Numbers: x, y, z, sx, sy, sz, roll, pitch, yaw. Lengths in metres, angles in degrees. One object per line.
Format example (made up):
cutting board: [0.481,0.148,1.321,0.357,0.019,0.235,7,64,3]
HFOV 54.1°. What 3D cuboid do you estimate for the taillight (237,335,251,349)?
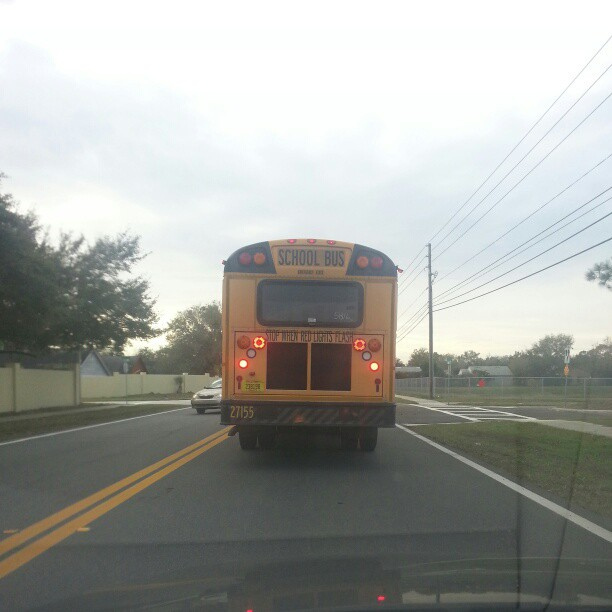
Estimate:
taillight: [-0.949,0.570,9.175,0.137,0.146,0.019,39,15,12]

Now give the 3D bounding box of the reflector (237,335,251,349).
reflector: [-0.954,0.571,9.177,0.167,0.213,0.188,10,3,19]

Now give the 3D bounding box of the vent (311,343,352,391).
vent: [0.387,0.970,9.193,0.595,0.685,0.088,-1,-6,5]

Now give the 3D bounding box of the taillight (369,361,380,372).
taillight: [1.044,0.956,9.221,0.129,0.163,0.033,-6,-2,-16]

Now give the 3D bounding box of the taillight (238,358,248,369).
taillight: [-0.961,0.907,9.159,0.137,0.156,0.031,-2,-6,16]

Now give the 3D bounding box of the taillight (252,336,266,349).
taillight: [-0.711,0.581,9.160,0.200,0.184,0.028,-2,-6,9]

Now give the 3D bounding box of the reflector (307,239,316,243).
reflector: [0.081,-0.998,9.317,0.130,0.046,0.015,0,-6,-2]

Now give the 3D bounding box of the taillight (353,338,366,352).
taillight: [0.818,0.623,9.240,0.150,0.192,0.038,2,-4,-9]

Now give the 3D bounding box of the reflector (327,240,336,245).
reflector: [0.381,-0.990,9.256,0.126,0.055,0.236,-2,-8,10]
